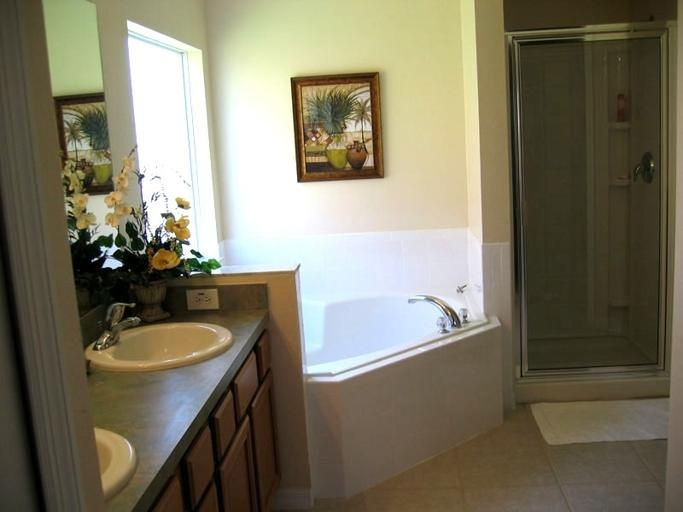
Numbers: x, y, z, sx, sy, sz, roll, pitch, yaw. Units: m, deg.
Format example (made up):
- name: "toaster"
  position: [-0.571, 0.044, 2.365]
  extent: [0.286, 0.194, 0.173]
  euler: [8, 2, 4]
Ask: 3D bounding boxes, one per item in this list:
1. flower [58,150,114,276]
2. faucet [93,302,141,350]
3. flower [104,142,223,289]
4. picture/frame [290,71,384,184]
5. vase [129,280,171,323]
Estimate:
- name: "flower"
  position: [-0.974, -0.150, 2.085]
  extent: [0.080, 0.443, 0.243]
  euler: [-4, 13, -3]
- name: "faucet"
  position: [-0.801, 0.236, 1.922]
  extent: [0.051, 0.156, 0.159]
  euler: [11, 13, 43]
- name: "flower"
  position: [-0.759, -0.155, 2.300]
  extent: [0.477, 0.575, 0.453]
  euler: [12, 23, 34]
- name: "picture/frame"
  position: [-0.017, -0.911, 3.693]
  extent: [0.633, 0.770, 0.033]
  euler: [-2, 6, 0]
- name: "vase"
  position: [-0.793, 0.171, 2.293]
  extent: [0.166, 0.201, 0.166]
  euler: [-3, 3, -29]
